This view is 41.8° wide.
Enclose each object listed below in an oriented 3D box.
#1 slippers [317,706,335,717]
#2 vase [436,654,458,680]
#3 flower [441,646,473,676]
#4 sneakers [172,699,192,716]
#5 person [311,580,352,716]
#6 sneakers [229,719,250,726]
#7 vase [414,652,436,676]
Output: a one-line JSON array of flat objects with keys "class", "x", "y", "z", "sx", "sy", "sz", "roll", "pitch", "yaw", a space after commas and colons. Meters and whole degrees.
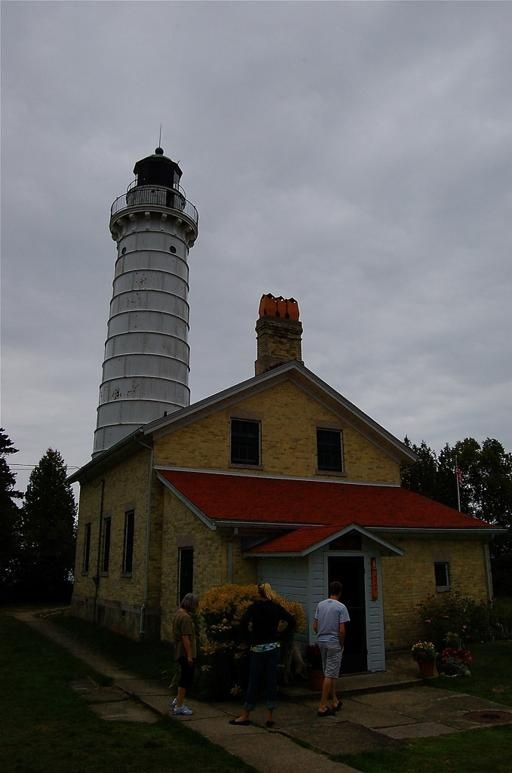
[{"class": "slippers", "x": 0.925, "y": 4.129, "z": 8.603, "sx": 0.289, "sy": 0.114, "sz": 0.096, "roll": 4, "pitch": -10, "yaw": -26}, {"class": "vase", "x": 3.259, "y": 4.750, "z": 11.396, "sx": 0.225, "sy": 0.295, "sz": 0.278, "roll": 1, "pitch": -24, "yaw": 4}, {"class": "flower", "x": 3.446, "y": 4.646, "z": 11.412, "sx": 0.403, "sy": 0.392, "sz": 0.387, "roll": 2, "pitch": -12, "yaw": 4}, {"class": "sneakers", "x": -0.949, "y": 4.064, "z": 8.528, "sx": 0.284, "sy": 0.176, "sz": 0.253, "roll": 0, "pitch": -13, "yaw": 4}, {"class": "person", "x": 0.994, "y": 3.393, "z": 8.762, "sx": 0.411, "sy": 1.642, "sz": 0.712, "roll": 0, "pitch": -13, "yaw": 5}, {"class": "sneakers", "x": -0.189, "y": 3.997, "z": 8.010, "sx": 0.083, "sy": 0.061, "sz": 0.234, "roll": -11, "pitch": -25, "yaw": 36}, {"class": "vase", "x": 2.845, "y": 4.612, "z": 11.238, "sx": 0.382, "sy": 0.300, "sz": 0.392, "roll": 1, "pitch": -17, "yaw": -1}]
